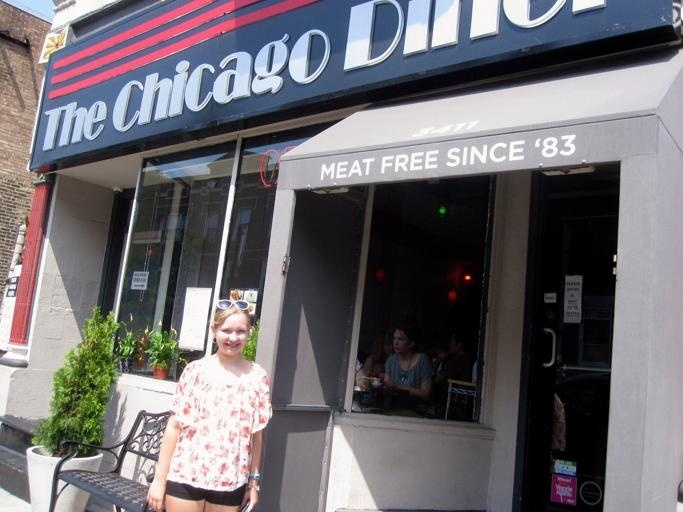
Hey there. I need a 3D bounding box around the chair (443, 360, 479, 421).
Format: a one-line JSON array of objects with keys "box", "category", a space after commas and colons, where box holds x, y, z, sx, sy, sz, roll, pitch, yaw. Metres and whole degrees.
[{"box": [1.157, 1.265, 4.981, 0.292, 0.575, 0.297, 5, -8, 3], "category": "chair"}]

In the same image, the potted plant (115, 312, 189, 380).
[{"box": [-2.189, 1.142, 6.268, 0.786, 0.649, 0.558, -5, -12, 29], "category": "potted plant"}]
